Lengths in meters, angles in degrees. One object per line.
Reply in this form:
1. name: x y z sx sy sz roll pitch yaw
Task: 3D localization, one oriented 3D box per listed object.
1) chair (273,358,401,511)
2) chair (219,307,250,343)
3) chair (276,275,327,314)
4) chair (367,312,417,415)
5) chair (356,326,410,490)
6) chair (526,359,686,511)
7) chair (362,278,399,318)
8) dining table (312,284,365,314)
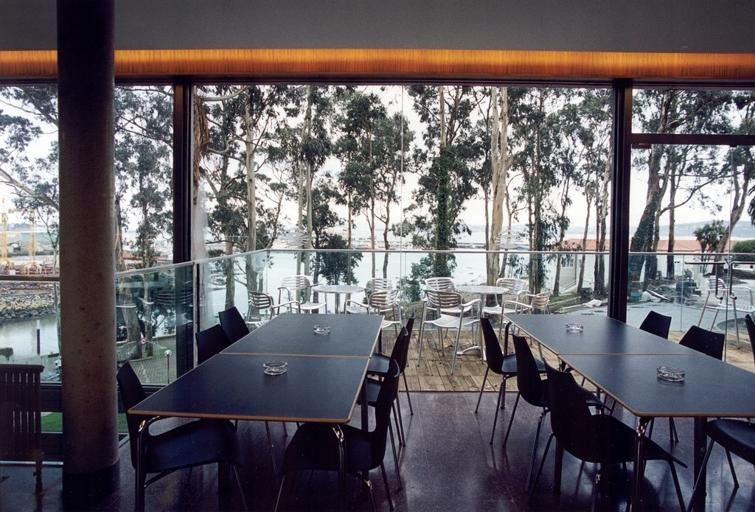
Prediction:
1. chair: -0.380 1.438 5.394 1.088 1.809 0.969 5 -4 1
2. chair: -1.508 0.717 6.234 0.232 0.435 0.235 -3 18 38
3. chair: -1.223 0.571 9.175 0.569 0.911 0.606 -1 1 -22
4. chair: 0.071 1.141 6.022 0.538 0.996 0.556 4 8 21
5. chair: -0.042 1.366 5.746 0.500 0.874 0.526 -5 15 -3
6. chair: 1.815 1.531 5.019 1.048 1.265 0.679 0 2 20
7. chair: 0.045 0.612 8.710 0.508 0.702 0.493 1 -6 1
8. dining table: -0.603 0.628 8.730 0.713 0.417 0.884 -1 1 -11
